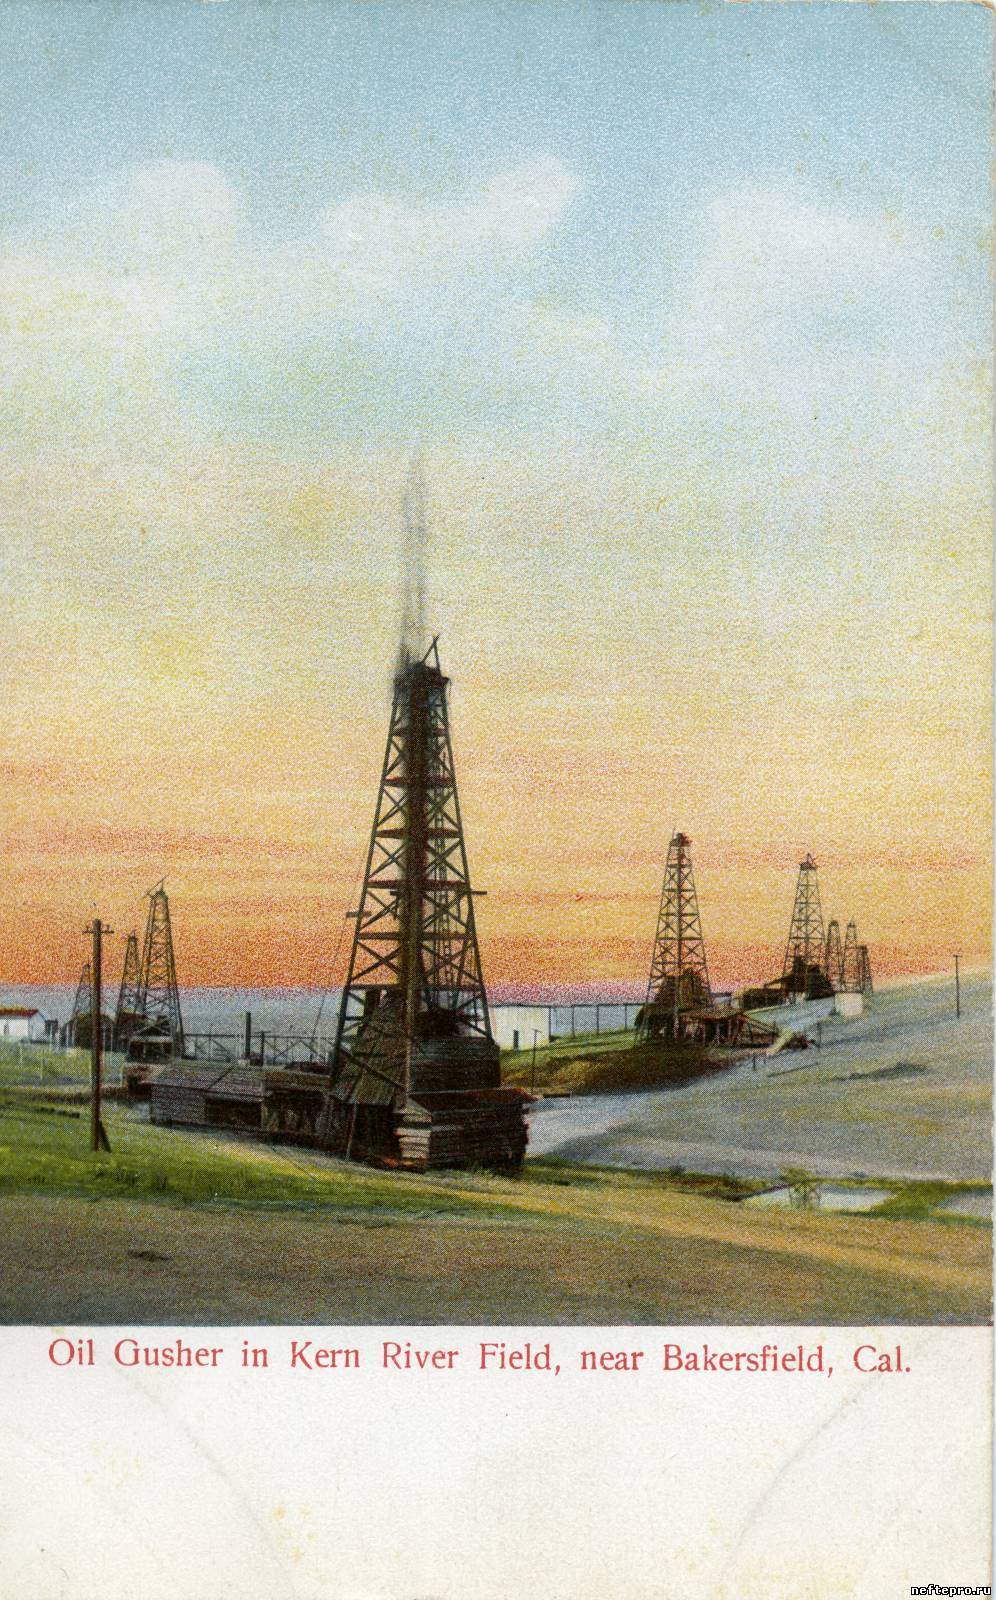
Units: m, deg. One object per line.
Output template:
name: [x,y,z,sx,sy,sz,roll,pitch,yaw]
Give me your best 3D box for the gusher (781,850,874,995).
gusher: [3.703,1.560,31.703,0.945,1.812,0.593,3,-6,0]
